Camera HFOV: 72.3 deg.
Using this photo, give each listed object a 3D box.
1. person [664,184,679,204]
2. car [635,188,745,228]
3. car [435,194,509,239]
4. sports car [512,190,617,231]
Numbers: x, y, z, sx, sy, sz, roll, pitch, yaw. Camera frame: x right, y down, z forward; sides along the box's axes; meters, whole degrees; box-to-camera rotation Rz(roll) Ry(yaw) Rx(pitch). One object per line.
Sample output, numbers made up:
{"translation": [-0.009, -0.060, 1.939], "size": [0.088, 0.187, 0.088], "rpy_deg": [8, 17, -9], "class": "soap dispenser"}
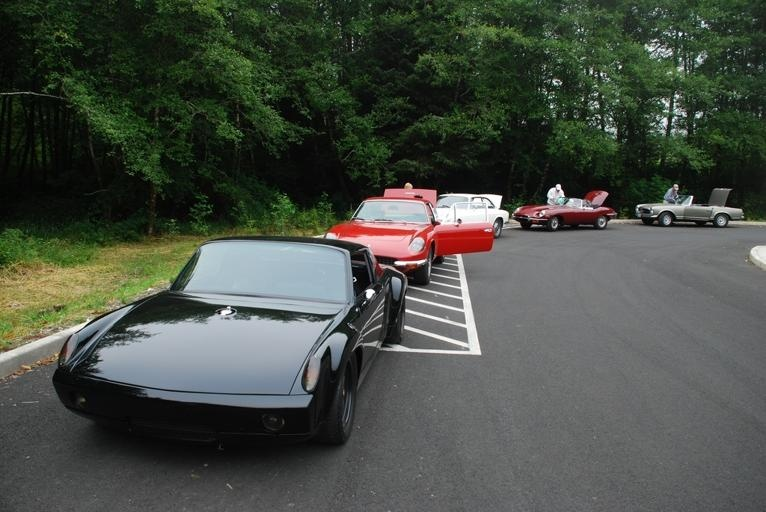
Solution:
{"translation": [16.234, -3.438, 29.342], "size": [0.686, 1.066, 2.623], "rpy_deg": [6, 12, 28], "class": "person"}
{"translation": [17.267, -2.636, 29.389], "size": [5.188, 2.050, 1.725], "rpy_deg": [-2, 10, -15], "class": "car"}
{"translation": [3.666, -1.728, 22.400], "size": [3.372, 1.377, 1.958], "rpy_deg": [-4, 5, -39], "class": "car"}
{"translation": [9.339, -2.136, 26.482], "size": [5.148, 1.969, 2.292], "rpy_deg": [-4, 8, -34], "class": "sports car"}
